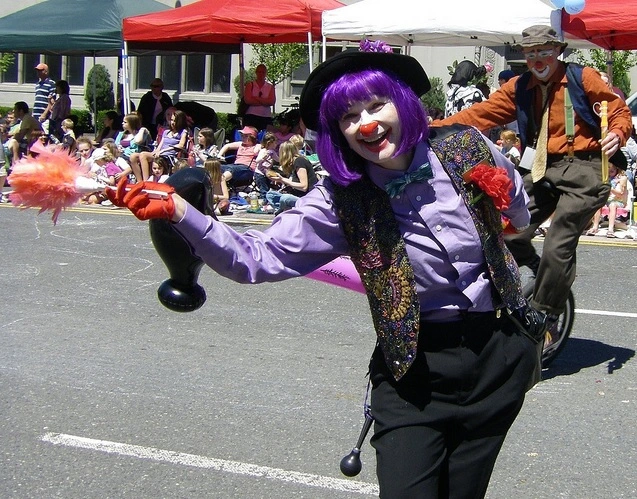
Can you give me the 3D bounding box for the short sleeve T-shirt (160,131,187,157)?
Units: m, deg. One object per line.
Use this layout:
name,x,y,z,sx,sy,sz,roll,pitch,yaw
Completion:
short sleeve T-shirt,-2.666,-1.955,12.027,0.445,0.516,0.294,11,-19,15

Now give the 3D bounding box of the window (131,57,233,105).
window,-4.836,-6.407,23.249,3.678,1.847,0.157,3,11,5

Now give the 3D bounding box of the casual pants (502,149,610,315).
casual pants,1.490,-0.123,4.302,0.649,1.145,0.516,-1,-25,24

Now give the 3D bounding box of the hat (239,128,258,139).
hat,-1.257,-2.122,11.729,0.282,0.140,0.200,22,1,-24

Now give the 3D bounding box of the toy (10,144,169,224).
toy,-0.613,-0.188,1.835,0.448,0.187,0.207,4,22,1
